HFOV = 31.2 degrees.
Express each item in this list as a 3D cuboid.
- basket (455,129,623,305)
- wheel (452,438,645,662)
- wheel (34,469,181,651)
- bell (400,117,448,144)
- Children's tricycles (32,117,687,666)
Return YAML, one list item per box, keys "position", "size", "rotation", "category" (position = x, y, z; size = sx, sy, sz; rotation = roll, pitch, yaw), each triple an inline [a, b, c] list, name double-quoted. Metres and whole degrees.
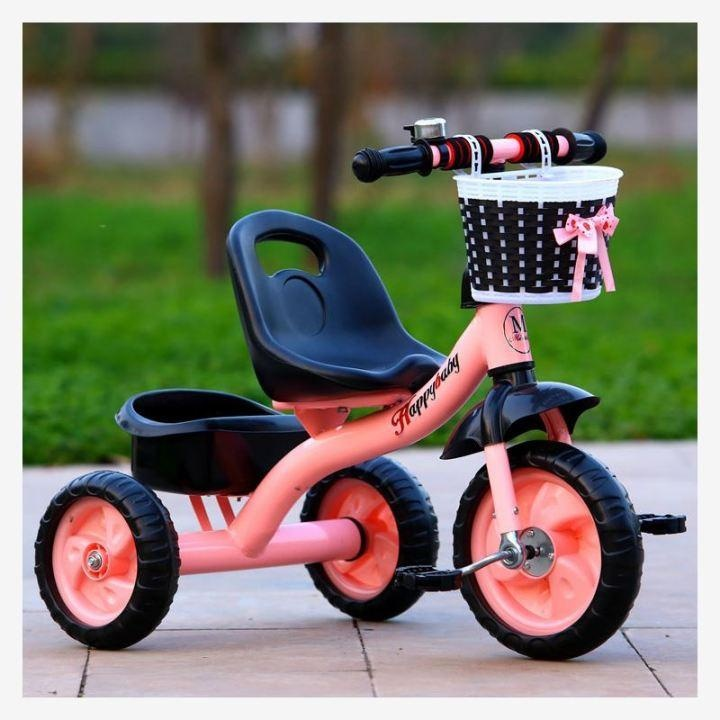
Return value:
- position: [0.402, -0.296, 2.943]
  size: [0.326, 0.258, 0.355]
  rotation: [-9, 14, -28]
  category: "basket"
- position: [0.434, 0.463, 3.012]
  size: [0.448, 0.469, 0.138]
  rotation: [-17, -6, 26]
  category: "wheel"
- position: [-0.640, 0.519, 3.274]
  size: [0.437, 0.442, 0.124]
  rotation: [3, 3, 33]
  category: "wheel"
- position: [0.141, -0.517, 2.929]
  size: [0.082, 0.040, 0.068]
  rotation: [-3, 9, 22]
  category: "bell"
- position: [0.025, 0.105, 3.304]
  size: [1.558, 1.241, 1.085]
  rotation: [-1, -1, 44]
  category: "Children's tricycles"
